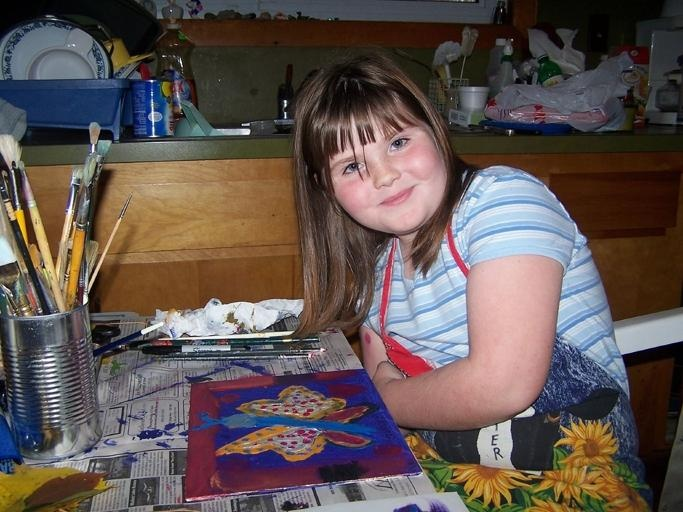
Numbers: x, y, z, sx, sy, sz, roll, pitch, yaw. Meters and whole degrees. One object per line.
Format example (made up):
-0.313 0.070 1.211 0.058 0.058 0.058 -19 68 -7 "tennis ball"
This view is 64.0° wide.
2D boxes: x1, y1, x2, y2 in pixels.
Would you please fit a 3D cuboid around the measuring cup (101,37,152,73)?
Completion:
-0.683 -0.608 1.713 0.203 0.118 0.183 -4 18 -24 "measuring cup"
